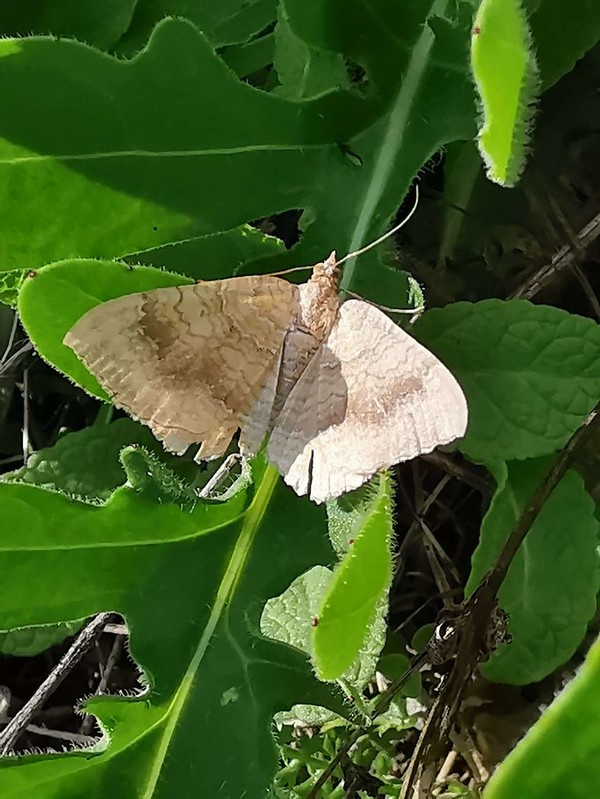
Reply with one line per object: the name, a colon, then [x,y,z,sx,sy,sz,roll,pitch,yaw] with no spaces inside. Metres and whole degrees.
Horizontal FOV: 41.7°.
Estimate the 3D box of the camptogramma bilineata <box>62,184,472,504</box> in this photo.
camptogramma bilineata: [0.004,-0.053,0.757,0.396,0.244,0.093,17,10,-16]
